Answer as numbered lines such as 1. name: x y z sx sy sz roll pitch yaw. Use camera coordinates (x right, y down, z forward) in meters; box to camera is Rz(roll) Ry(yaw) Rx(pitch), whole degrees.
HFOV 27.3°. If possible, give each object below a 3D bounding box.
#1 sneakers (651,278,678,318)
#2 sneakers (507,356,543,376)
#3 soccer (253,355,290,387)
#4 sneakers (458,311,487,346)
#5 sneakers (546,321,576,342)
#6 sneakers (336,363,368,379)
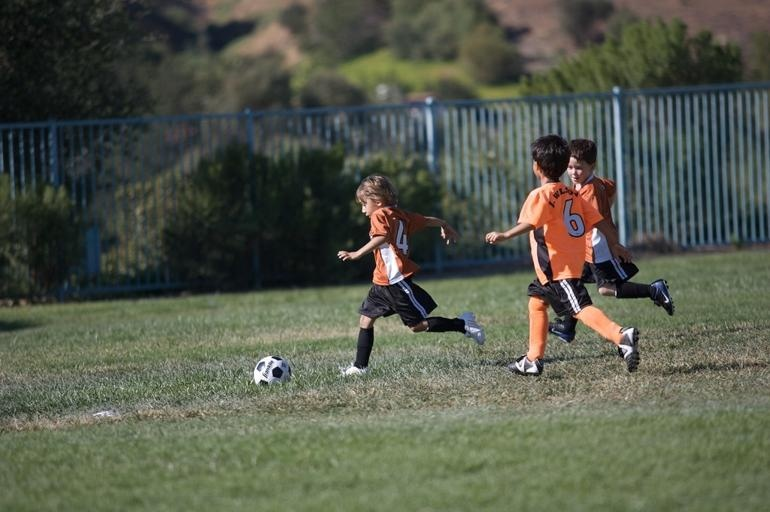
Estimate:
1. sneakers: 2.879 0.428 16.537 0.218 0.359 0.147 -3 2 21
2. sneakers: 1.470 1.142 16.323 0.388 0.191 0.148 4 0 33
3. soccer: -1.156 1.196 16.380 0.305 0.332 0.293 -1 -4 11
4. sneakers: 0.934 0.801 16.612 0.184 0.160 0.435 -2 46 -48
5. sneakers: 1.883 0.804 16.893 0.288 0.205 0.100 31 18 19
6. sneakers: -0.316 1.203 16.504 0.232 0.114 0.130 3 -5 2
